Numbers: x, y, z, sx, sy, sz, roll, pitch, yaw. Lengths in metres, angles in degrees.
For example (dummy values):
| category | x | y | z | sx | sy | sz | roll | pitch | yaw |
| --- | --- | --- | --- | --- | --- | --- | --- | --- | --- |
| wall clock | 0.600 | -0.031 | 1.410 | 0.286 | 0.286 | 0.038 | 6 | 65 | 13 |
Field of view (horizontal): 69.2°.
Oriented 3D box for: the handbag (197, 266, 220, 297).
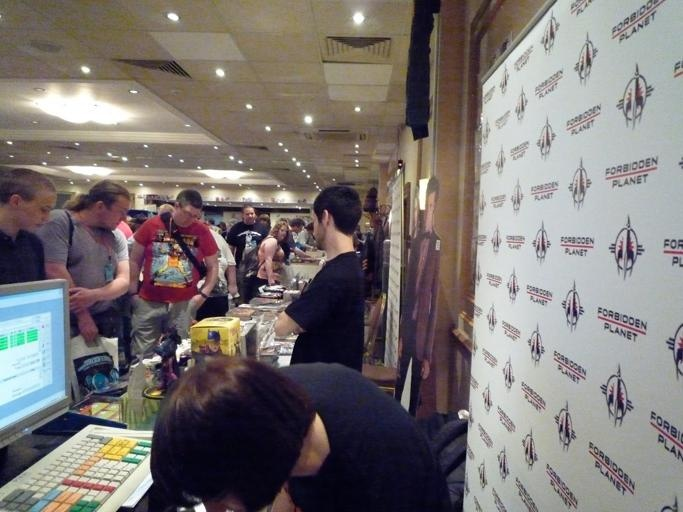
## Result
| category | x | y | z | sx | sy | sz | roll | pitch | yaw |
| --- | --- | --- | --- | --- | --- | --- | --- | --- | --- |
| handbag | -1.126 | 0.248 | 4.398 | 0.286 | 0.189 | 0.360 | -1 | 5 | -13 |

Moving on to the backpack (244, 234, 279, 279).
| category | x | y | z | sx | sy | sz | roll | pitch | yaw |
| --- | --- | --- | --- | --- | --- | --- | --- | --- | --- |
| backpack | -0.842 | 0.033 | 5.180 | 0.219 | 0.358 | 0.374 | 21 | 10 | -17 |
